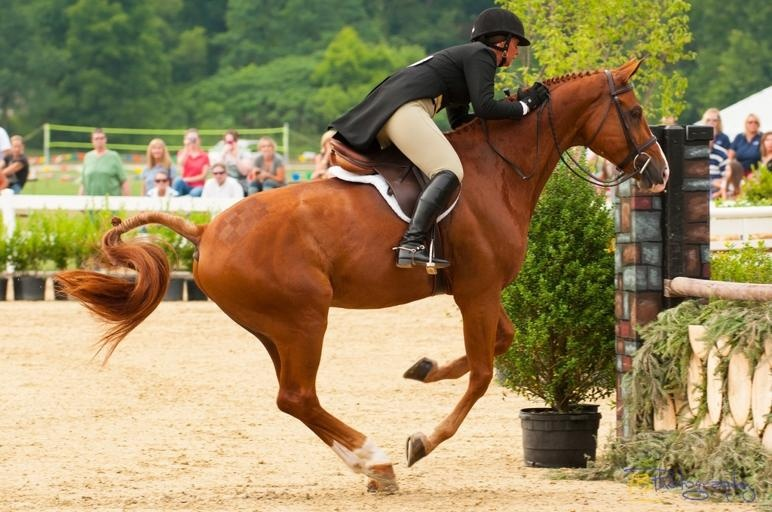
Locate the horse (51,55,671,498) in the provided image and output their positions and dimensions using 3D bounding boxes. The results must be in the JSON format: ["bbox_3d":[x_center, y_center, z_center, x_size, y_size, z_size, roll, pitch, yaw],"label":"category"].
[{"bbox_3d":[-3.366,-0.185,27.659,7.129,8.105,13.275,2,-4,-29],"label":"horse"}]

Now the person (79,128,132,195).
[{"bbox_3d":[-6.147,-1.883,37.829,1.280,1.691,0.667,-1,4,19],"label":"person"}]

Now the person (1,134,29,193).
[{"bbox_3d":[-8.276,-2.079,38.840,0.579,1.119,1.562,1,0,-12],"label":"person"}]
